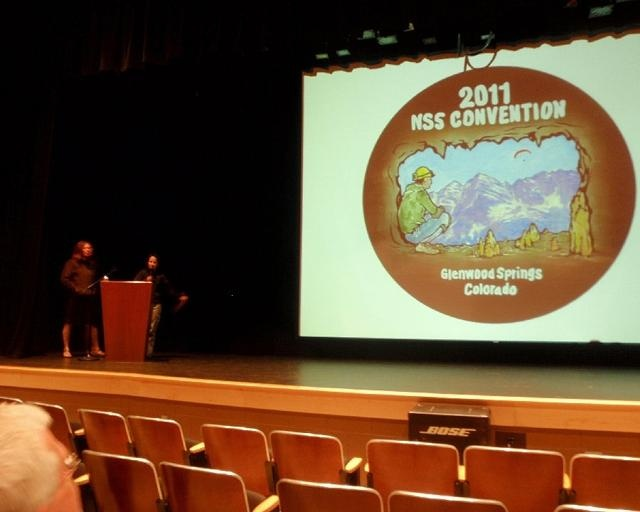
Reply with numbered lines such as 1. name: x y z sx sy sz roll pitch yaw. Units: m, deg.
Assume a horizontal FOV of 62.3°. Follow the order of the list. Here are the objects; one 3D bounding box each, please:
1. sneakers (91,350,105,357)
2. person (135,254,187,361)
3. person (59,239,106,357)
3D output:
1. sneakers: -2.545 1.113 6.058 0.165 0.080 0.066 0 -7 0
2. person: -1.892 0.631 6.355 0.601 1.314 1.674 1 6 -14
3. person: -2.785 0.540 6.195 0.436 1.437 1.083 -1 6 -25
